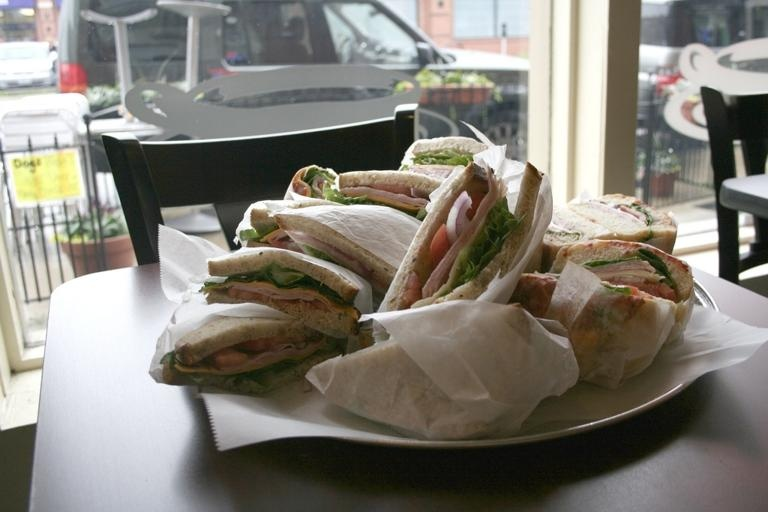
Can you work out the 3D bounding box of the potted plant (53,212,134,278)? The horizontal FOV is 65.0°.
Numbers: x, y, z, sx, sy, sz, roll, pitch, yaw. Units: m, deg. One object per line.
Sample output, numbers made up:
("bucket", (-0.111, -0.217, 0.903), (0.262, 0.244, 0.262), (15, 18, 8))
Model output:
("potted plant", (-1.137, -0.052, 2.327), (0.210, 0.166, 0.215), (-7, 12, -9))
